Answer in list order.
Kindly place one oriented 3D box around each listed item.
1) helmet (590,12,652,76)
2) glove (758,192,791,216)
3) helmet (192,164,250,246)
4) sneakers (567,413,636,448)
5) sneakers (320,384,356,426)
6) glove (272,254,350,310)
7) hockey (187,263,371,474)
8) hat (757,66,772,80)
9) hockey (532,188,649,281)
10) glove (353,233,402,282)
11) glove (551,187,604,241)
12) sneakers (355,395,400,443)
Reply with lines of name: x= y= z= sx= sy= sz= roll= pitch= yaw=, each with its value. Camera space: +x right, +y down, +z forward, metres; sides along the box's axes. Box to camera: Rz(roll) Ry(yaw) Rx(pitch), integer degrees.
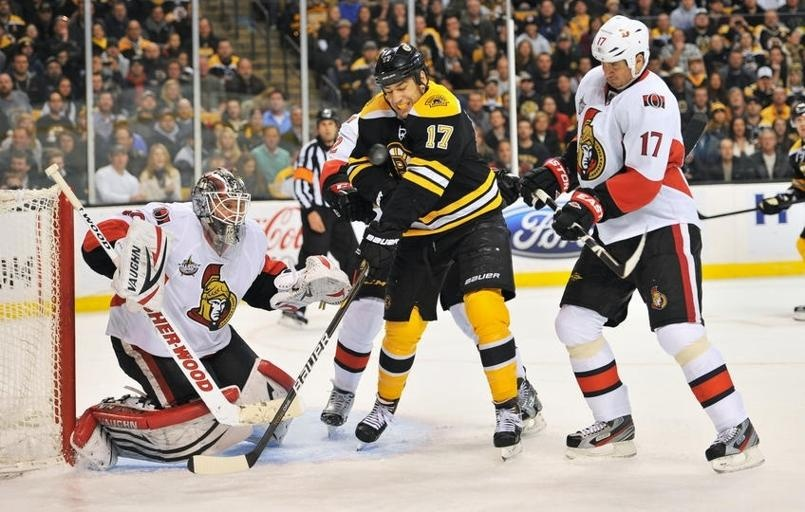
helmet: x=1.253 y=-1.166 z=5.743 sx=0.361 sy=0.335 sz=0.284 roll=-21 pitch=21 yaw=-36
glove: x=3.230 y=-0.454 z=8.582 sx=0.379 sy=0.156 sz=0.214 roll=-9 pitch=-1 yaw=-38
helmet: x=-1.055 y=-0.287 z=5.800 sx=0.320 sy=0.422 sz=0.401 roll=4 pitch=0 yaw=-43
sneakers: x=1.164 y=1.037 z=5.881 sx=0.474 sy=0.208 sz=0.157 roll=-2 pitch=-2 yaw=-2
sneakers: x=-0.378 y=0.923 z=6.241 sx=0.147 sy=0.170 sz=0.416 roll=4 pitch=17 yaw=16
glove: x=-0.557 y=0.149 z=6.018 sx=0.521 sy=0.243 sz=0.246 roll=-1 pitch=30 yaw=-14
hockey: x=-0.741 y=0.708 z=6.022 sx=0.206 sy=0.110 sz=1.478 roll=33 pitch=65 yaw=16
hat: x=4.009 y=-2.044 z=11.021 sx=0.116 sy=0.156 sz=0.121 roll=3 pitch=47 yaw=14
hockey: x=1.035 y=-0.165 z=5.780 sx=0.048 sy=0.291 sz=0.820 roll=-16 pitch=52 yaw=-42
glove: x=-0.120 y=0.014 z=5.873 sx=0.207 sy=0.273 sz=0.122 roll=20 pitch=7 yaw=27
glove: x=1.006 y=-0.236 z=5.698 sx=0.286 sy=0.287 sz=0.172 roll=-2 pitch=13 yaw=-1
sneakers: x=-0.144 y=0.989 z=6.075 sx=0.130 sy=0.147 sz=0.366 roll=28 pitch=20 yaw=8
